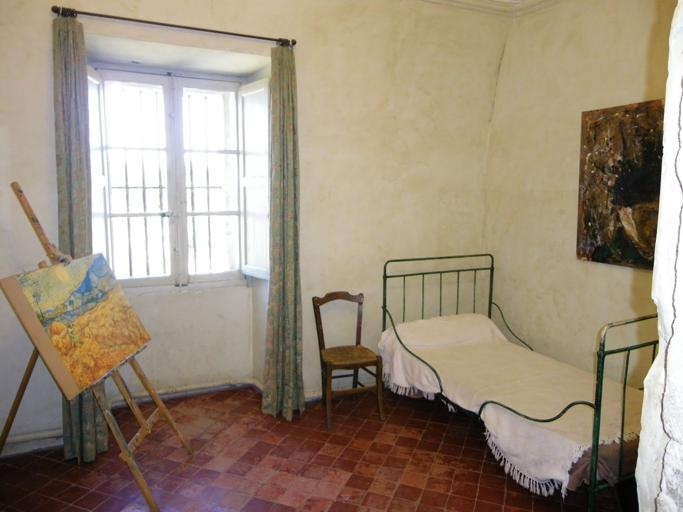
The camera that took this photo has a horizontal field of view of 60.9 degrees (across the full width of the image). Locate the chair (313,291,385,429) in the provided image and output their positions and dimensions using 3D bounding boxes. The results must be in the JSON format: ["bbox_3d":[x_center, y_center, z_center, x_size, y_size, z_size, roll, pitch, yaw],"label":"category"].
[{"bbox_3d":[0.045,0.801,4.789,0.510,0.951,0.689,-5,12,-6],"label":"chair"}]

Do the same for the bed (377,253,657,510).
[{"bbox_3d":[1.251,0.879,4.487,1.313,1.196,2.024,-6,12,-26],"label":"bed"}]
